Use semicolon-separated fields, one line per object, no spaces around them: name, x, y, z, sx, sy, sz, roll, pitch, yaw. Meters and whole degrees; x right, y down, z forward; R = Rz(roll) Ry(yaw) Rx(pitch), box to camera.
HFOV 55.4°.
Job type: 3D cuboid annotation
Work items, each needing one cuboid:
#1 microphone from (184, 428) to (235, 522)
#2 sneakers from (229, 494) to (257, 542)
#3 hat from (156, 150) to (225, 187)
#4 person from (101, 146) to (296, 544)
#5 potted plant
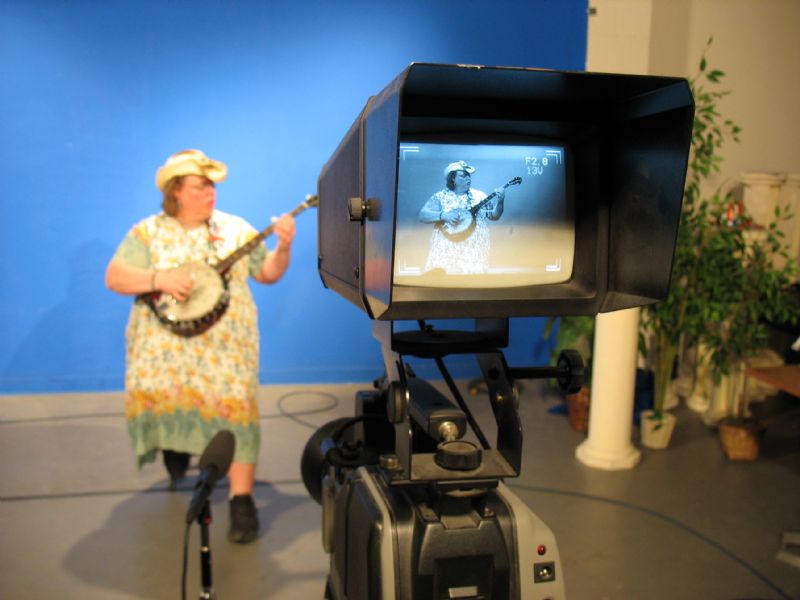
microphone;-0.704;0.640;2.915;0.110;0.112;0.444;8;53;8
sneakers;-0.831;1.164;4.032;0.117;0.116;0.265;0;36;-13
hat;-1.152;-0.728;4.153;0.288;0.167;0.228;-11;13;-15
person;-1.104;0.214;4.208;0.915;2.052;0.598;1;9;15
potted plant;2.038;-0.539;5.522;1.500;2.806;2.611;4;11;32
